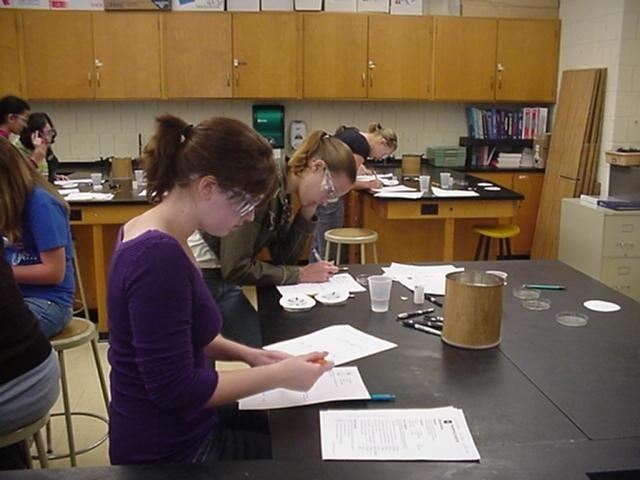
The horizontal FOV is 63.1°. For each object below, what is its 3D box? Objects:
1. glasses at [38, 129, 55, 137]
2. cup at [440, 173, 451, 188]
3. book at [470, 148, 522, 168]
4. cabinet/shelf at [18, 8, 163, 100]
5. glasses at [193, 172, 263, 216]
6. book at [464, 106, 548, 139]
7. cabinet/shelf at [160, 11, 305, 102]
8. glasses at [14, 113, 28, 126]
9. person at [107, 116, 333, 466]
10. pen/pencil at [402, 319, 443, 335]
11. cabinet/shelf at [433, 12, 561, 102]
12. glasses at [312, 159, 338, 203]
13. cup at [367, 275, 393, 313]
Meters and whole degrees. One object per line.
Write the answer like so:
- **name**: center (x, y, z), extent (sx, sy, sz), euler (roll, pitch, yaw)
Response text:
- **glasses**: center (-2.382, -0.936, 4.534), extent (0.083, 0.059, 0.112), euler (-4, -7, -18)
- **cup**: center (1.115, -0.533, 4.585), extent (0.095, 0.136, 0.146), euler (0, 5, 7)
- **book**: center (2.004, -0.930, 5.991), extent (0.411, 0.136, 0.309), euler (0, 14, -6)
- **cabinet/shelf**: center (-2.528, -2.050, 5.576), extent (1.390, 0.928, 0.771), euler (-15, 43, -36)
- **glasses**: center (-0.256, -0.118, 1.426), extent (0.070, 0.119, 0.086), euler (-46, 7, 3)
- **book**: center (2.145, -1.346, 5.995), extent (0.913, 0.375, 0.510), euler (4, 15, 22)
- **cabinet/shelf**: center (-0.908, -1.901, 5.677), extent (1.416, 0.881, 0.506), euler (-1, 6, -3)
- **glasses**: center (-2.603, -1.048, 4.549), extent (0.115, 0.049, 0.089), euler (-12, 6, 32)
- **person**: center (-0.324, 0.168, 1.432), extent (0.558, 0.999, 0.440), euler (-11, 17, -33)
- **pen/pencil**: center (0.373, 0.315, 1.878), extent (0.136, 0.017, 0.019), euler (17, 38, 43)
- **cabinet/shelf**: center (1.887, -2.009, 5.689), extent (0.963, 0.614, 0.342), euler (0, 8, -4)
- **glasses**: center (0.041, -0.271, 2.415), extent (0.077, 0.162, 0.123), euler (-7, 2, 8)
- **cup**: center (0.225, 0.204, 2.030), extent (0.119, 0.136, 0.122), euler (-1, 9, 0)
